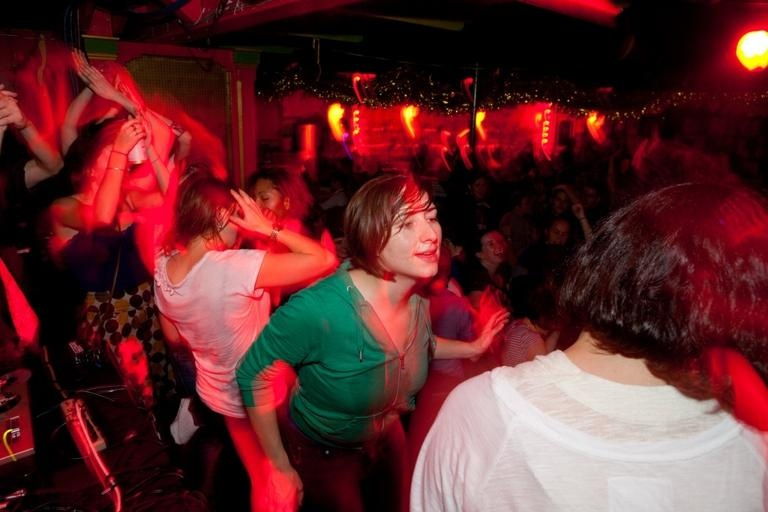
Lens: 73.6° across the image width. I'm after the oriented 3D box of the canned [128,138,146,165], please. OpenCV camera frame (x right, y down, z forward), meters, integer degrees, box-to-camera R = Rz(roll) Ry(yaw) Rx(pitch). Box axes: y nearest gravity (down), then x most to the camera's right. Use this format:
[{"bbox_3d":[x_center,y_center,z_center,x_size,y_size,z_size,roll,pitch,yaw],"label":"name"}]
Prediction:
[{"bbox_3d":[-1.540,-0.660,3.240,0.127,0.199,0.163,-9,21,-22],"label":"canned"}]
